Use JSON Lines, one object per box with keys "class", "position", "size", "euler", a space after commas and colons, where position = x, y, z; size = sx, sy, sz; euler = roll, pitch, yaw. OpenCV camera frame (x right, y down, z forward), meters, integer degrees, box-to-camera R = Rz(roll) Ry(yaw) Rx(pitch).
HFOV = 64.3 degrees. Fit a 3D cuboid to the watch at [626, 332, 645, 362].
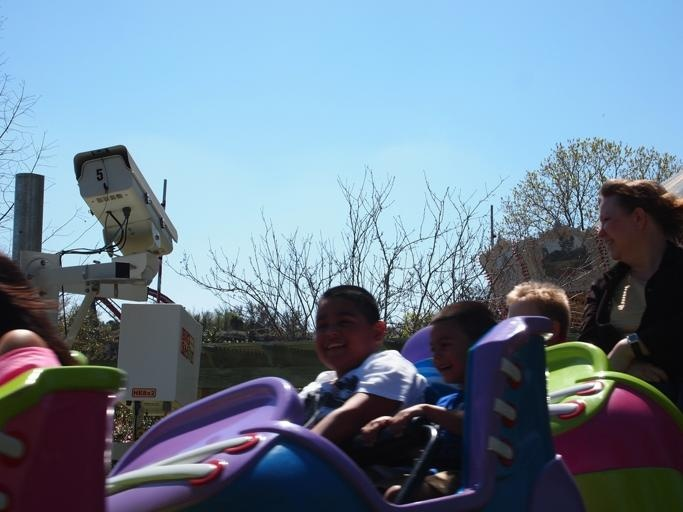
{"class": "watch", "position": [1.230, 0.386, 2.275], "size": [0.031, 0.099, 0.070], "euler": [-14, 14, -5]}
